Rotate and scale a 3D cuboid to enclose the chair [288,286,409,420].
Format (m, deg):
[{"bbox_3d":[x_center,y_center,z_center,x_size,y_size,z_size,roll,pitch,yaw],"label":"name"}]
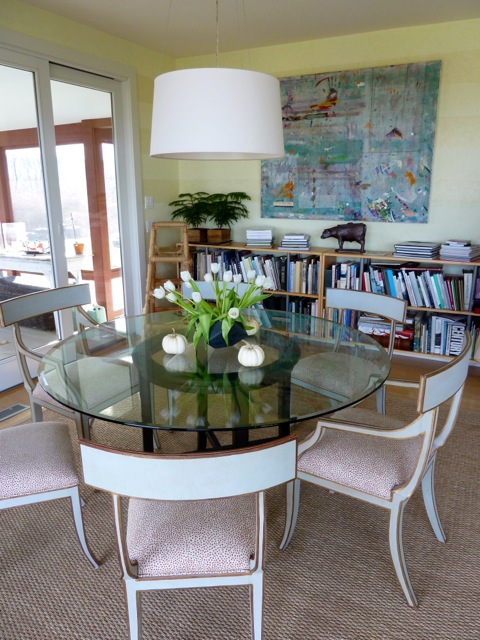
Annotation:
[{"bbox_3d":[0.728,0.110,2.905,0.696,0.906,0.628,8,14,34],"label":"chair"}]

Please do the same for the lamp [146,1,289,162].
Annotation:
[{"bbox_3d":[-0.084,-0.680,1.564,0.461,0.256,0.275,1,14,4],"label":"lamp"}]

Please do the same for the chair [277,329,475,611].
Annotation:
[{"bbox_3d":[0.556,0.385,2.142,0.877,1.242,0.746,13,22,35],"label":"chair"}]

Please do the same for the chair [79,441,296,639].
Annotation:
[{"bbox_3d":[-0.104,0.539,1.240,0.486,0.621,0.389,1,14,5],"label":"chair"}]

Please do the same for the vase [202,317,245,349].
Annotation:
[{"bbox_3d":[-0.057,0.051,1.875,0.126,0.082,0.109,-6,9,-2],"label":"vase"}]

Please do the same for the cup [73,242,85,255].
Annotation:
[{"bbox_3d":[-1.310,-0.582,3.837,0.082,0.084,0.083,-1,-3,0],"label":"cup"}]

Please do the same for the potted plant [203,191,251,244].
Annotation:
[{"bbox_3d":[-0.101,-0.996,4.682,0.514,0.457,0.502,-4,11,-24],"label":"potted plant"}]
